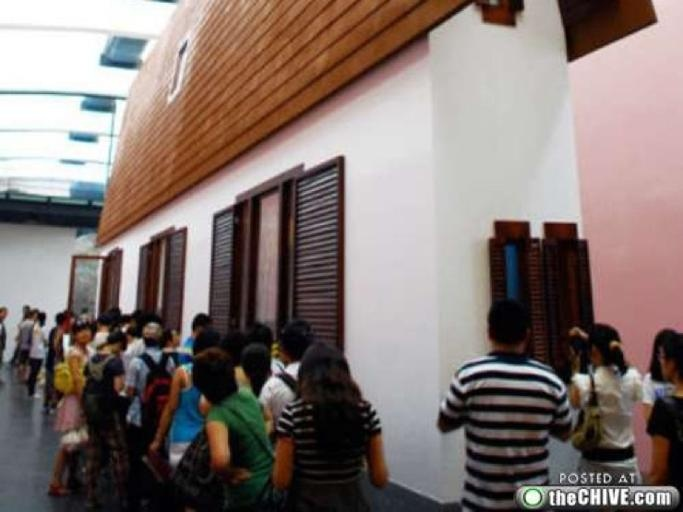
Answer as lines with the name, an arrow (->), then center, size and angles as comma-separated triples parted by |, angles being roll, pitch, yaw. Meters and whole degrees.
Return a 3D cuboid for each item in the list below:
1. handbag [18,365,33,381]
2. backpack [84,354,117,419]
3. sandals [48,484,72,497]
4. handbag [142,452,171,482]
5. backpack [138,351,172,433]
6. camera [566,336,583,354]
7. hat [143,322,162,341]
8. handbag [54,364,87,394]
handbag -> -6.841, 2.543, 11.397 | 0.181, 0.415, 0.768 | 6, -16, -35
backpack -> -1.897, 1.032, 4.149 | 0.233, 0.470, 0.592 | 3, -8, -26
sandals -> -2.601, 2.175, 4.872 | 0.177, 0.073, 0.096 | 1, -2, -9
handbag -> -1.172, 1.371, 3.380 | 0.048, 0.178, 0.187 | -31, -26, -34
backpack -> -1.556, 1.125, 4.455 | 0.375, 0.637, 0.645 | 0, -9, -25
camera -> 1.553, 0.594, 3.500 | 0.064, 0.082, 0.086 | 11, 20, 6
hat -> -1.626, 0.655, 4.556 | 0.125, 0.155, 0.161 | 1, 0, -12
handbag -> -2.643, 1.181, 5.062 | 0.212, 0.219, 0.180 | -2, 8, 3
